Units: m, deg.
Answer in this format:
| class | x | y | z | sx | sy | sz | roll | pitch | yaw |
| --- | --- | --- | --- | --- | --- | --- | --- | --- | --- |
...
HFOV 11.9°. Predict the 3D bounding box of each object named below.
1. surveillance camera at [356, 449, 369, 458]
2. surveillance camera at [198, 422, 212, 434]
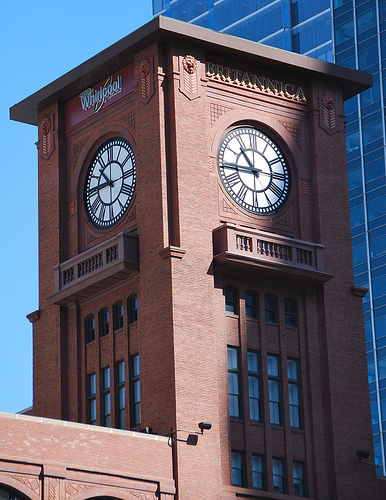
| class | x | y | z | sx | sy | sz | roll | pitch | yaw |
| --- | --- | --- | --- | --- | --- | --- | --- | --- | --- |
| surveillance camera | 6.436 | 8.071 | 71.399 | 0.491 | 0.336 | 0.261 | 17 | -21 | -42 |
| surveillance camera | 0.422 | 6.507 | 67.016 | 0.464 | 0.393 | 0.440 | 6 | -23 | -22 |
